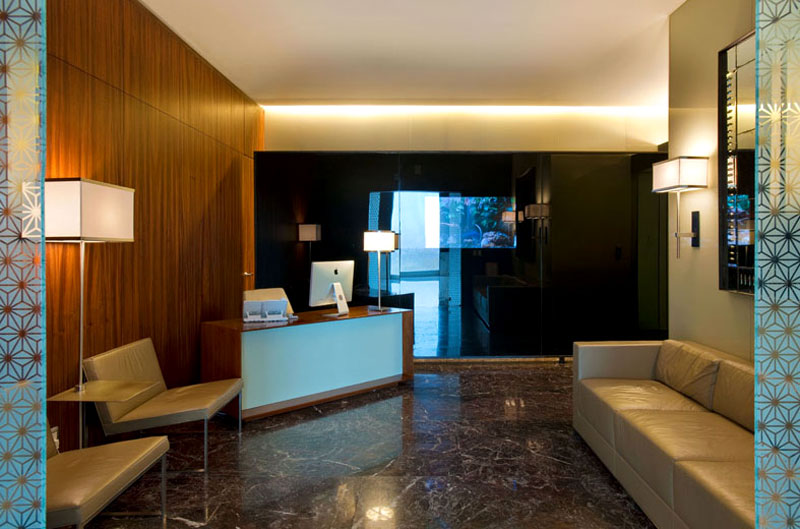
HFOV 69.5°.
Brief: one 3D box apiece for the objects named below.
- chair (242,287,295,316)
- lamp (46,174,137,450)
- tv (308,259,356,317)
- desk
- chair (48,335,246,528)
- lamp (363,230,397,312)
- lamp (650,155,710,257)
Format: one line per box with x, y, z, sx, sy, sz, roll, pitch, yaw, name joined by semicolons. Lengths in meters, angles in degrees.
-1.524;0.386;6.534;0.371;0.234;0.371;1;-1;-10;chair
-2.517;0.420;4.723;0.666;2.237;1.173;-4;12;-18;lamp
-0.802;0.271;6.722;0.659;0.670;0.270;-1;8;-31;tv
-0.944;0.995;6.637;2.318;1.001;0.841;-1;7;-42;desk
-2.098;1.409;4.958;1.002;0.904;1.275;0;0;1;chair
-0.238;0.093;7.537;0.426;1.141;1.056;-1;12;-2;lamp
2.670;-0.550;5.542;0.319;0.983;0.487;-1;11;-2;lamp
